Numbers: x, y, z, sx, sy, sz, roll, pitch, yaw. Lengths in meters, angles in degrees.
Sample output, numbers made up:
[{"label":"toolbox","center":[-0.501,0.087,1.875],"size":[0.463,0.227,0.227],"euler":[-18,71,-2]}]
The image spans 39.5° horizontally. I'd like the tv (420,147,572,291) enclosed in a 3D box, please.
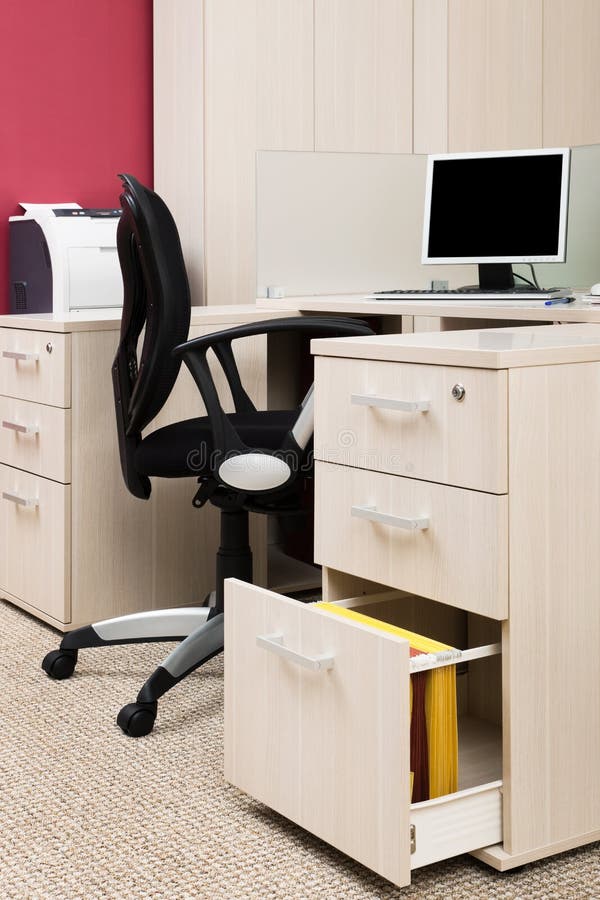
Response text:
[{"label":"tv","center":[0.469,-0.545,1.960],"size":[0.403,0.445,0.151],"euler":[0,-1,33]}]
